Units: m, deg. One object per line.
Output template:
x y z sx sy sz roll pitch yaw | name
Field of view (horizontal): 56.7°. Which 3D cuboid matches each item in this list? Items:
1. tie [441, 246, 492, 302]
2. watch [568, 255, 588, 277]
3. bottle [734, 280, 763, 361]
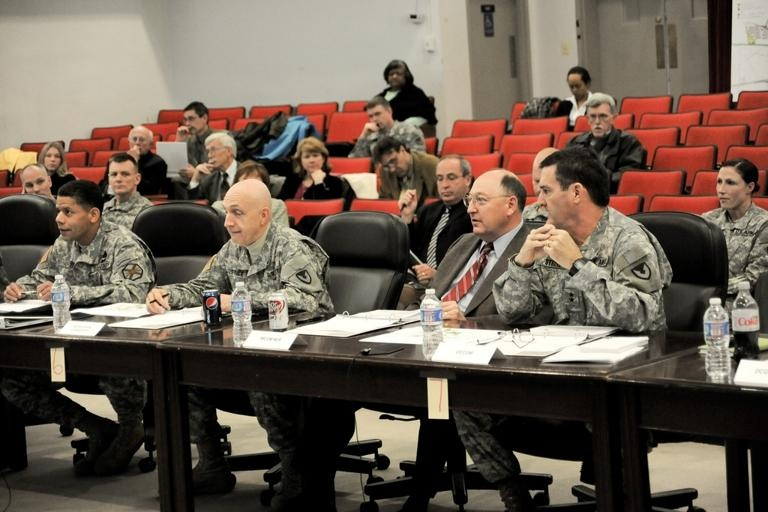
0.439 0.085 3.706 0.118 0.301 0.224 40 6 -2 | tie
0.793 0.042 2.955 0.087 0.056 0.079 -42 -22 -17 | watch
1.259 0.219 2.474 0.083 0.259 0.293 -1 6 27 | bottle
